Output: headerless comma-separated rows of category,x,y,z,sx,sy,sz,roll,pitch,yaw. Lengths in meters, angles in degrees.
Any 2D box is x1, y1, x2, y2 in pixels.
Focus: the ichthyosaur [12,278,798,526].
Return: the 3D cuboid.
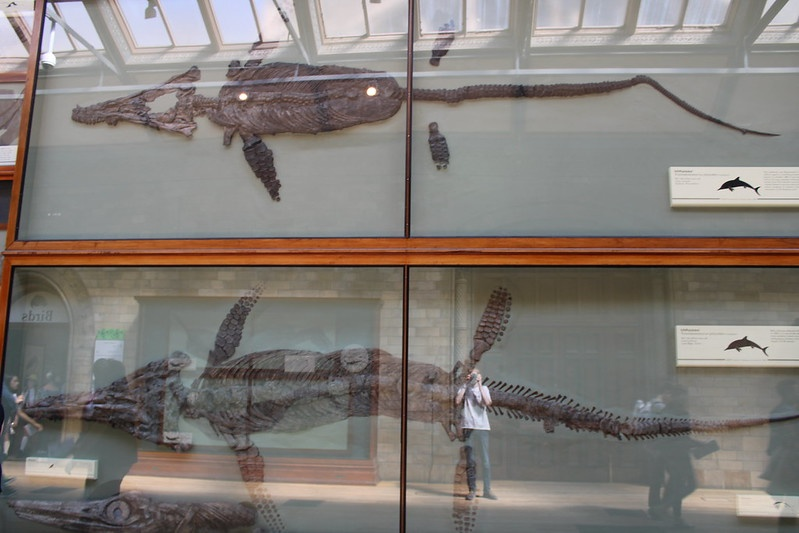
ichthyosaur,-0.345,1.641,9.503,7.946,2.755,0.532,-1,-12,7
